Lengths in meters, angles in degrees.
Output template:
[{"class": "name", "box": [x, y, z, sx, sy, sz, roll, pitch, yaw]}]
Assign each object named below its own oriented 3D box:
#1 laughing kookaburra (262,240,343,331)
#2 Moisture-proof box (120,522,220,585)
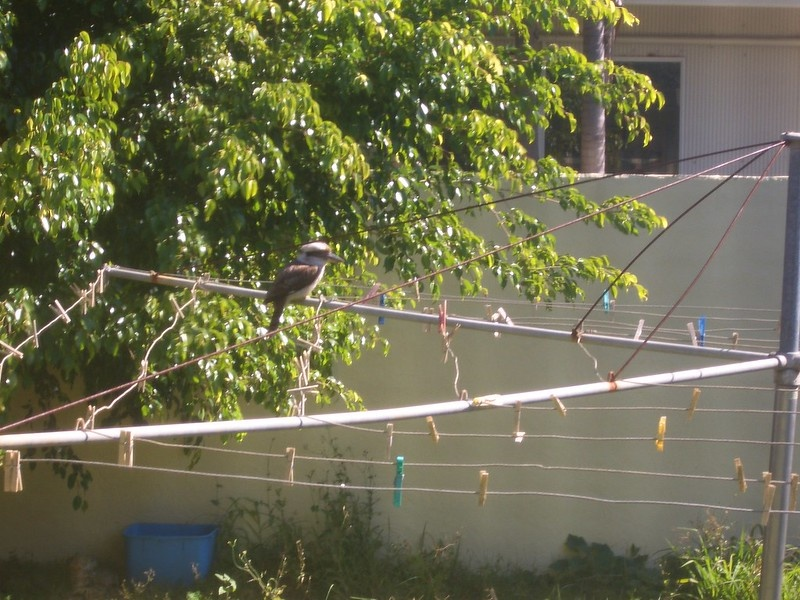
[{"class": "laughing kookaburra", "box": [-0.994, -0.148, 18.865, 0.786, 0.966, 0.570, 3, -4, -17]}, {"class": "Moisture-proof box", "box": [-2.604, 2.885, 21.354, 0.786, 0.476, 0.642, 1, -5, -4]}]
